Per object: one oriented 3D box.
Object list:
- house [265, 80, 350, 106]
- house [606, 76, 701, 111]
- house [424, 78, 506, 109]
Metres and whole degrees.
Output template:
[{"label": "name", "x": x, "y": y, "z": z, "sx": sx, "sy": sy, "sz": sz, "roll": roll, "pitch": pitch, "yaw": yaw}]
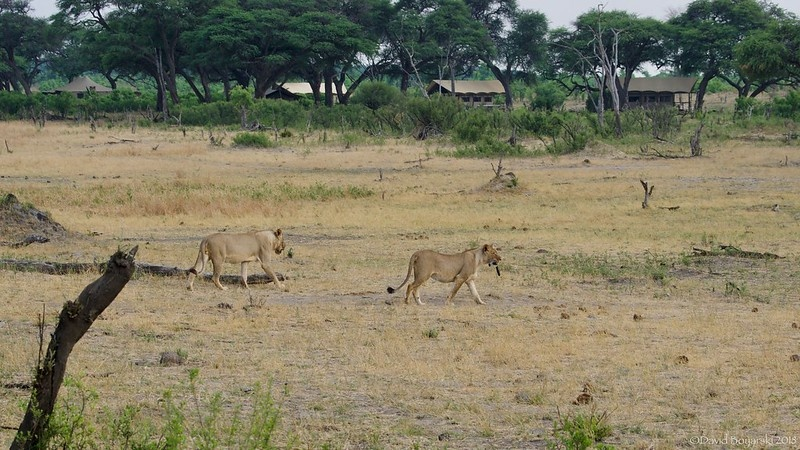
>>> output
[{"label": "house", "x": -12.290, "y": -16.883, "z": 170.043, "sx": 8.662, "sy": 1.840, "sz": 25.924, "roll": 0, "pitch": 7, "yaw": -4}, {"label": "house", "x": 30.177, "y": -15.481, "z": 159.270, "sx": 8.082, "sy": 3.782, "sz": 15.559, "roll": 3, "pitch": 7, "yaw": 15}, {"label": "house", "x": 8.728, "y": -15.383, "z": 167.053, "sx": 7.603, "sy": 2.546, "sz": 4.669, "roll": -6, "pitch": 19, "yaw": -32}]
